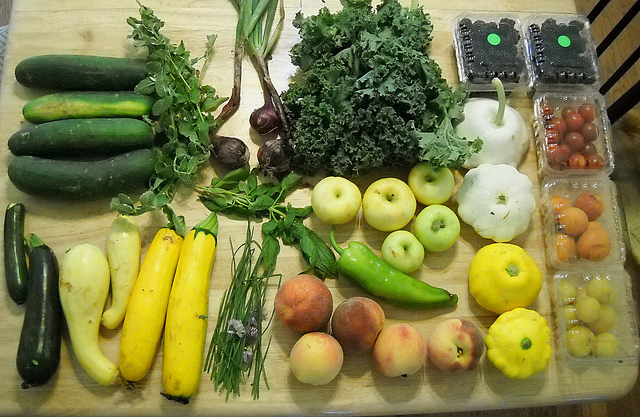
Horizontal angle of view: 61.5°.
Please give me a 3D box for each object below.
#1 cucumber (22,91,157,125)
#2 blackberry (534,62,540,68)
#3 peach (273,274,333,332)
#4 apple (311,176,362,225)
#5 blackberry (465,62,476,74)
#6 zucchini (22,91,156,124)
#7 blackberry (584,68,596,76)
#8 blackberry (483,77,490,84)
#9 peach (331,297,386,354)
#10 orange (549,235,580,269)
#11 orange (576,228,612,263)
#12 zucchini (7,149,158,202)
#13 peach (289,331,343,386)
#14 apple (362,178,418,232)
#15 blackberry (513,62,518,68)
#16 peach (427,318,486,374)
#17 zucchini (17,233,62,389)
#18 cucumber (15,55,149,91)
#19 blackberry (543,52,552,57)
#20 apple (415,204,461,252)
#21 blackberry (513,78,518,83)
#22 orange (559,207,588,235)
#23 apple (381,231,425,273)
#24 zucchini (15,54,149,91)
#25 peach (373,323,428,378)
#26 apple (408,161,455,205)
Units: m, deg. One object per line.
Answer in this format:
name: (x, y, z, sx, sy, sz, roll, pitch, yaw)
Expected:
cucumber: (-0.998, -0.457, 2.378, 0.545, 0.150, 0.143, -12, 5, -28)
blackberry: (1.004, -0.668, 2.488, 0.019, 0.020, 0.006, 0, -17, 7)
peach: (-0.080, 0.384, 2.209, 0.220, 0.220, 0.211, 2, -11, -18)
apple: (0.071, -0.030, 2.286, 0.216, 0.210, 0.112, 2, 11, 3)
blackberry: (0.690, -0.644, 2.459, 0.046, 0.048, 0.023, 3, 11, 9)
zucchini: (-1.011, -0.454, 2.363, 0.512, 0.126, 0.136, -7, 27, -25)
blackberry: (1.241, -0.632, 2.468, 0.058, 0.032, 0.018, -3, 12, -21)
blackberry: (0.765, -0.589, 2.465, 0.030, 0.028, 0.015, 2, 11, 4)
peach: (0.152, 0.455, 2.213, 0.198, 0.218, 0.215, 6, -5, 20)
orange: (1.053, 0.180, 2.313, 0.104, 0.142, 0.077, -5, -2, -1)
orange: (1.168, 0.156, 2.351, 0.142, 0.142, 0.138, -6, -21, 9)
zucchini: (-1.003, -0.139, 2.276, 0.616, 0.230, 0.085, 0, 11, -5)
peach: (-0.018, 0.568, 2.100, 0.197, 0.208, 0.187, 3, -11, -4)
apple: (0.299, -0.021, 2.365, 0.209, 0.216, 0.208, -7, -12, 0)
blackberry: (0.895, -0.659, 2.456, 0.020, 0.020, 0.005, 1, 0, 0)
peach: (0.543, 0.548, 2.238, 0.207, 0.218, 0.216, -34, 5, 4)
zucchini: (-1.109, 0.421, 2.146, 0.143, 0.558, 0.161, -13, -20, 39)
cucumber: (-1.030, -0.605, 2.434, 0.625, 0.183, 0.172, -1, 26, -23)
blackberry: (1.051, -0.713, 2.474, 0.028, 0.020, 0.007, 0, -6, 2)
apple: (0.503, 0.083, 2.350, 0.180, 0.187, 0.180, -6, -3, 6)
blackberry: (0.901, -0.590, 2.473, 0.027, 0.014, 0.009, -4, 12, -24)
orange: (1.088, 0.054, 2.353, 0.109, 0.110, 0.108, 0, -34, 0)
apple: (0.347, 0.181, 2.249, 0.173, 0.171, 0.069, 2, 11, 5)
zucchini: (-1.055, -0.602, 2.387, 0.577, 0.153, 0.121, 2, 11, 4)
peach: (0.314, 0.582, 2.125, 0.205, 0.231, 0.090, 2, 11, 6)
apple: (0.492, -0.115, 2.347, 0.211, 0.188, 0.101, 2, 11, 2)
